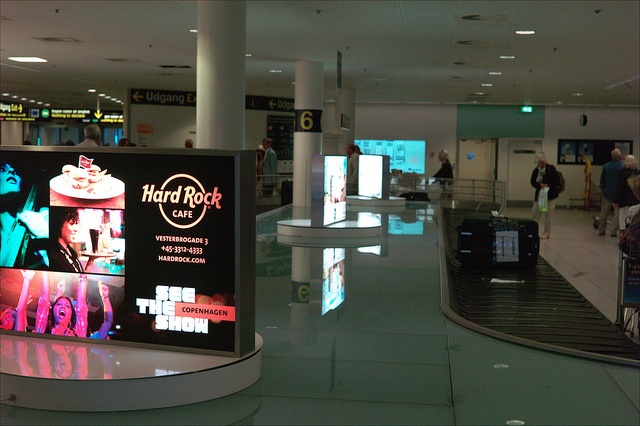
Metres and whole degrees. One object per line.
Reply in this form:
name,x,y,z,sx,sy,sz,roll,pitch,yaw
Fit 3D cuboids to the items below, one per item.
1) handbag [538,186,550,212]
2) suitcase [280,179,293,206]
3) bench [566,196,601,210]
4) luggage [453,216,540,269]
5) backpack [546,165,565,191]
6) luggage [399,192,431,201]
handbag,5.331,-0.333,12.155,0.252,0.610,0.269,5,8,10
suitcase,-1.101,-0.682,16.935,0.368,0.817,0.255,1,8,-19
bench,11.010,-0.397,21.237,1.314,0.525,0.315,3,1,34
luggage,3.213,0.609,9.060,1.341,0.930,0.752,0,-11,16
backpack,5.893,-0.770,12.619,0.199,0.593,0.439,2,-28,18
luggage,3.435,-0.611,18.296,0.938,0.335,0.665,4,8,5
